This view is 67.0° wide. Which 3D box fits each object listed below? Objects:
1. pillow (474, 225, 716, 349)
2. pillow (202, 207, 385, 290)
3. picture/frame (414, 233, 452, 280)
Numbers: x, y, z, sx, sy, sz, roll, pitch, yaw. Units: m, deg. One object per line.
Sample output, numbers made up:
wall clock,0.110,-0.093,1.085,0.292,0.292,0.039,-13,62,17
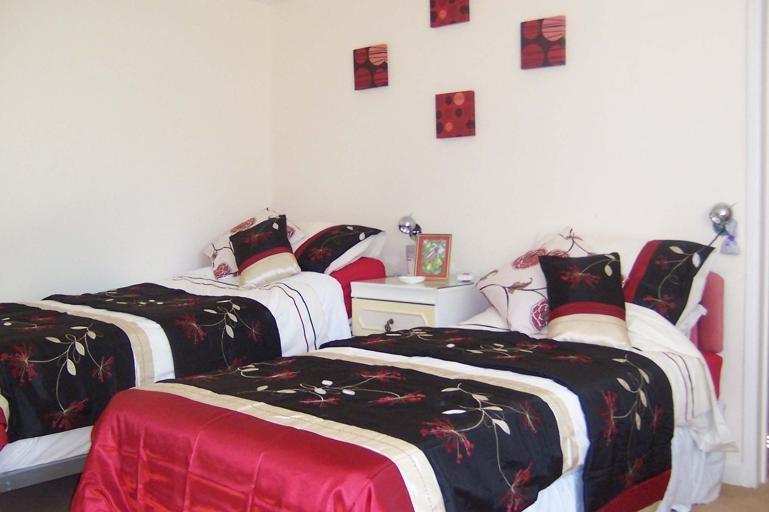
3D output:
pillow,1.343,0.139,3.502,0.808,0.236,0.784,-26,25,-39
pillow,-0.656,-0.045,4.420,0.855,0.277,0.746,-18,11,-40
picture/frame,0.359,0.012,4.281,0.334,0.376,0.027,-5,-11,42
